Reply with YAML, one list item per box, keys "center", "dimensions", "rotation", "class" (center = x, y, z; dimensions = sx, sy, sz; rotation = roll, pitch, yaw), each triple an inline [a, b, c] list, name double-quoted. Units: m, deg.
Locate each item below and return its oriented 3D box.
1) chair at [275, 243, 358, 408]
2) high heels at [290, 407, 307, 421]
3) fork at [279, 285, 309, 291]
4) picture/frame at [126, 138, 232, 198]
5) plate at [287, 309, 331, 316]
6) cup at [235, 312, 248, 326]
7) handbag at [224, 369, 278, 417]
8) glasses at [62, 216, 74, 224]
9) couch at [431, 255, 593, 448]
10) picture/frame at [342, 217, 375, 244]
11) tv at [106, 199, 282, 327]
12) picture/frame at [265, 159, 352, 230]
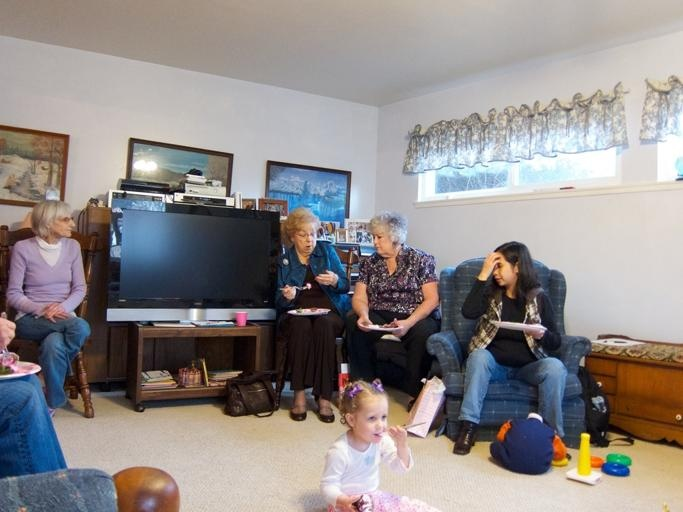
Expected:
- center: [-0.221, 0.405, 3.623]
  dimensions: [0.554, 1.027, 0.665]
  rotation: [2, 2, 0]
  class: "chair"
- center: [-0.282, 1.024, 3.318]
  dimensions: [0.110, 0.066, 0.163]
  rotation: [2, 2, -4]
  class: "high heels"
- center: [-0.329, 0.232, 3.727]
  dimensions: [0.155, 0.040, 0.080]
  rotation: [0, 0, -4]
  class: "fork"
- center: [-1.594, -0.901, 5.089]
  dimensions: [1.035, 0.491, 0.093]
  rotation: [1, 2, -24]
  class: "picture/frame"
- center: [-0.207, 0.388, 3.512]
  dimensions: [0.333, 0.044, 0.132]
  rotation: [1, 2, -24]
  class: "plate"
- center: [-0.716, 0.455, 3.677]
  dimensions: [0.086, 0.096, 0.089]
  rotation: [2, -2, 0]
  class: "cup"
- center: [-0.587, 0.954, 3.429]
  dimensions: [0.364, 0.279, 0.218]
  rotation: [2, -25, -32]
  class: "handbag"
- center: [-1.823, -0.244, 3.382]
  dimensions: [0.079, 0.032, 0.078]
  rotation: [13, 2, 32]
  class: "glasses"
- center: [0.950, 0.646, 3.550]
  dimensions: [1.059, 1.330, 1.049]
  rotation: [0, -13, 8]
  class: "couch"
- center: [0.169, -0.255, 5.280]
  dimensions: [0.326, 0.290, 0.029]
  rotation: [4, -22, -18]
  class: "picture/frame"
- center: [-1.087, 0.077, 3.673]
  dimensions: [0.888, 0.667, 0.093]
  rotation: [3, -7, -22]
  class: "tv"
- center: [-0.384, -0.653, 5.280]
  dimensions: [0.848, 0.712, 0.036]
  rotation: [4, -6, -26]
  class: "picture/frame"
